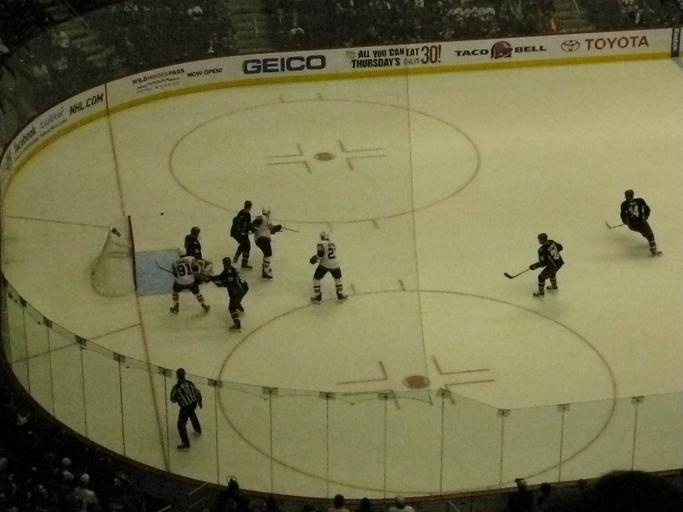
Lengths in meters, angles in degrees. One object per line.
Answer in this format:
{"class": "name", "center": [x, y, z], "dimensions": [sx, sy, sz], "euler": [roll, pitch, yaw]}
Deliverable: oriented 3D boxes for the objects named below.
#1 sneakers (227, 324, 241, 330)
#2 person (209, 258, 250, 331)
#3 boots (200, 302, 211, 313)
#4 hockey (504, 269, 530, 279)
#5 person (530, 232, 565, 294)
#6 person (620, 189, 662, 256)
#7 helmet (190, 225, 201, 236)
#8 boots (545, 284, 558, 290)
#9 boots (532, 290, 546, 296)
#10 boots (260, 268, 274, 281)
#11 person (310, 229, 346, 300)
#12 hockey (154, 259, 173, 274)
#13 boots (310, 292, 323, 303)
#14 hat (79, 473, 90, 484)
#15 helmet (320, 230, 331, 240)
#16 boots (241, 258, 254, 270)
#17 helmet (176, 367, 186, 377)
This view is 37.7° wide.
{"class": "sneakers", "center": [-1.802, 1.218, 17.092], "dimensions": [0.174, 0.092, 0.082], "euler": [4, 11, 11]}
{"class": "person", "center": [-1.922, 0.716, 17.394], "dimensions": [0.777, 1.227, 0.531], "euler": [6, 42, 5]}
{"class": "boots", "center": [-2.348, 0.900, 17.493], "dimensions": [0.178, 0.149, 0.124], "euler": [1, 30, 8]}
{"class": "hockey", "center": [3.243, 0.333, 18.388], "dimensions": [0.262, 0.066, 0.249], "euler": [-24, 11, -6]}
{"class": "person", "center": [3.741, 0.178, 18.079], "dimensions": [0.537, 1.025, 0.570], "euler": [-36, 47, -25]}
{"class": "person", "center": [5.732, -0.579, 18.997], "dimensions": [0.456, 1.124, 1.078], "euler": [-26, 45, -16]}
{"class": "helmet", "center": [-2.590, -0.435, 17.642], "dimensions": [0.231, 0.174, 0.232], "euler": [6, 10, 3]}
{"class": "boots", "center": [3.818, 0.571, 18.008], "dimensions": [0.235, 0.148, 0.075], "euler": [5, 26, 22]}
{"class": "boots", "center": [3.540, 0.654, 17.820], "dimensions": [0.189, 0.167, 0.090], "euler": [4, 43, 12]}
{"class": "boots", "center": [-1.360, 0.308, 18.414], "dimensions": [0.211, 0.201, 0.253], "euler": [-13, 42, -4]}
{"class": "person", "center": [-0.314, 0.165, 17.698], "dimensions": [0.623, 1.386, 0.881], "euler": [-11, 43, 0]}
{"class": "hockey", "center": [-3.305, 0.199, 18.731], "dimensions": [0.328, 0.083, 0.086], "euler": [40, 86, 1]}
{"class": "boots", "center": [-0.445, 0.713, 17.767], "dimensions": [0.098, 0.183, 0.277], "euler": [-15, 36, -20]}
{"class": "hat", "center": [-3.527, 3.060, 13.792], "dimensions": [0.122, 0.065, 0.175], "euler": [-17, 42, -9]}
{"class": "helmet", "center": [-0.244, -0.347, 17.417], "dimensions": [0.158, 0.172, 0.192], "euler": [0, 20, -9]}
{"class": "boots", "center": [-1.753, 0.168, 18.629], "dimensions": [0.278, 0.243, 0.117], "euler": [-15, 38, -22]}
{"class": "helmet", "center": [-2.245, 1.643, 14.088], "dimensions": [0.121, 0.144, 0.147], "euler": [3, 22, -8]}
